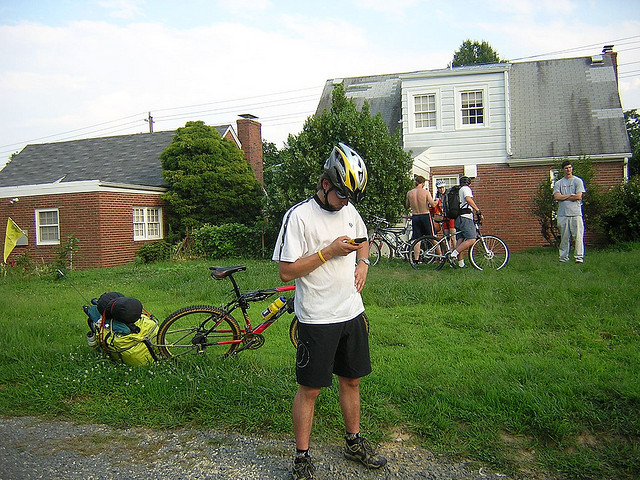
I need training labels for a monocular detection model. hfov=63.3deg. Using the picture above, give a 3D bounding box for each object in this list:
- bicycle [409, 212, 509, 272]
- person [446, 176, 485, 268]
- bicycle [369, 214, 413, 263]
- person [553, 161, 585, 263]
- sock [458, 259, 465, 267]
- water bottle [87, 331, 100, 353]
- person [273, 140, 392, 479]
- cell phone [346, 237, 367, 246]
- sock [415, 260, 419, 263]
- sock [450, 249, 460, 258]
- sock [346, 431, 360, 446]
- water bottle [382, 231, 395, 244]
[{"bbox_3d":[3.269,0.059,12.383,2.271,1.614,1.172,-2,9,19],"label":"bicycle"},{"bbox_3d":[3.431,-0.442,12.380,0.741,2.144,0.806,-1,3,17],"label":"person"},{"bbox_3d":[2.288,-0.004,15.898,0.955,1.284,1.908,-6,12,-37],"label":"bicycle"},{"bbox_3d":[5.522,-0.613,11.505,0.606,2.194,0.533,0,4,34],"label":"person"},{"bbox_3d":[3.401,0.540,12.396,0.111,0.165,0.292,0,5,40],"label":"sock"},{"bbox_3d":[-3.143,1.406,7.201,0.216,0.245,0.208,4,2,7],"label":"water bottle"},{"bbox_3d":[0.093,0.644,4.834,0.935,3.047,0.430,-4,3,-19],"label":"person"},{"bbox_3d":[0.346,0.015,4.759,0.229,0.065,0.164,-4,4,-20],"label":"cell phone"},{"bbox_3d":[2.383,0.513,12.728,0.092,0.063,0.028,-2,3,10],"label":"sock"},{"bbox_3d":[3.193,0.315,12.248,0.114,0.157,0.155,20,12,-11],"label":"sock"},{"bbox_3d":[0.304,1.878,4.942,0.124,0.133,0.098,-13,-10,23],"label":"sock"},{"bbox_3d":[1.907,-0.064,14.312,0.304,0.317,0.169,-2,3,5],"label":"water bottle"}]
